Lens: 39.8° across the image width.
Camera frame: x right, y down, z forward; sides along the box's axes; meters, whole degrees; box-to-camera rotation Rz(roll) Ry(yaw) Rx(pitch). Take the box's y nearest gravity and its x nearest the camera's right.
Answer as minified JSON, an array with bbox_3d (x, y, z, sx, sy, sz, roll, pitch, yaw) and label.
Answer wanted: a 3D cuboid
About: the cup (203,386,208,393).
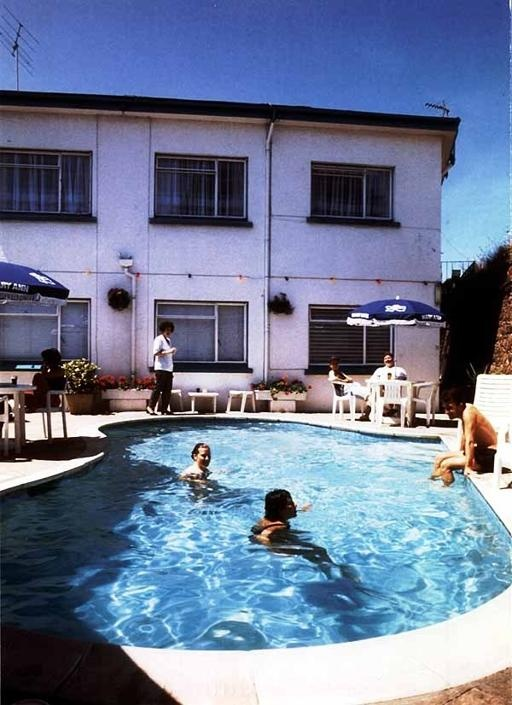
[{"bbox_3d":[-0.942,0.691,13.118,0.078,0.084,0.083,0,-2,0],"label":"cup"}]

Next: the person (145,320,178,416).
[{"bbox_3d":[-1.661,0.277,12.358,0.437,1.644,1.492,0,4,-7],"label":"person"}]

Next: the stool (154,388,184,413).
[{"bbox_3d":[-1.592,0.901,13.132,0.368,0.569,0.423,0,-5,-4],"label":"stool"}]

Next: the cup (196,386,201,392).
[{"bbox_3d":[-1.081,0.696,13.407,0.068,0.137,0.073,-1,-6,0],"label":"cup"}]

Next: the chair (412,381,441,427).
[{"bbox_3d":[2.707,0.800,11.427,0.417,0.597,0.464,-4,4,37],"label":"chair"}]

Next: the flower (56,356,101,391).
[{"bbox_3d":[-3.042,0.394,12.290,0.739,0.882,0.623,1,2,-35],"label":"flower"}]

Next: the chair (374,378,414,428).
[{"bbox_3d":[2.142,0.714,10.984,0.576,0.791,0.583,-4,17,-3],"label":"chair"}]

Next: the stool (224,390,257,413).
[{"bbox_3d":[-0.267,0.888,13.190,0.415,0.363,0.444,0,1,5],"label":"stool"}]

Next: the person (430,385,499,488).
[{"bbox_3d":[2.265,0.851,7.503,0.831,1.347,0.856,0,2,7],"label":"person"}]

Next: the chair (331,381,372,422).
[{"bbox_3d":[1.689,0.820,12.166,0.644,0.987,0.606,-3,-3,22],"label":"chair"}]

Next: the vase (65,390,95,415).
[{"bbox_3d":[-3.026,0.882,12.266,0.415,0.364,0.389,0,-6,-9],"label":"vase"}]
